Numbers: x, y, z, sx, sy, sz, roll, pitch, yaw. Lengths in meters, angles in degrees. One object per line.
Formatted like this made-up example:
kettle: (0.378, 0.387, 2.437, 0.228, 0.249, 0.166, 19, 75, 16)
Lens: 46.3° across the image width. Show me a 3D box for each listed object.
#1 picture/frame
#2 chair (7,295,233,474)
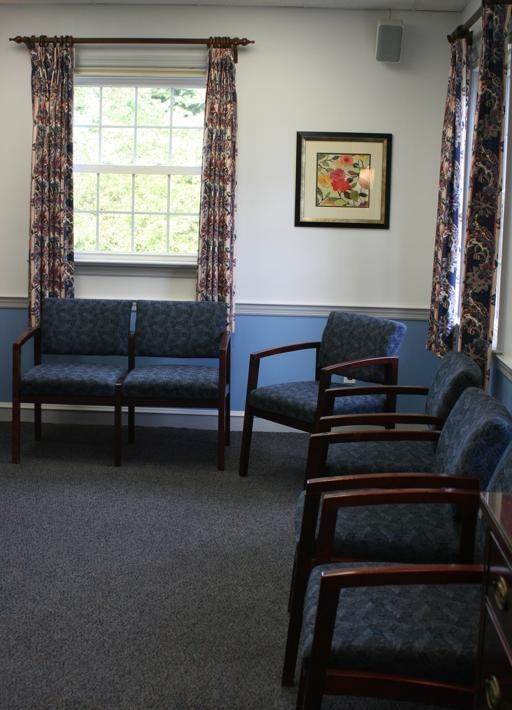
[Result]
picture/frame: (0.561, -1.151, 3.851, 0.655, 0.645, 0.048, 1, 6, 1)
chair: (-0.776, 0.112, 3.617, 1.235, 0.880, 0.981, 2, 6, -1)
